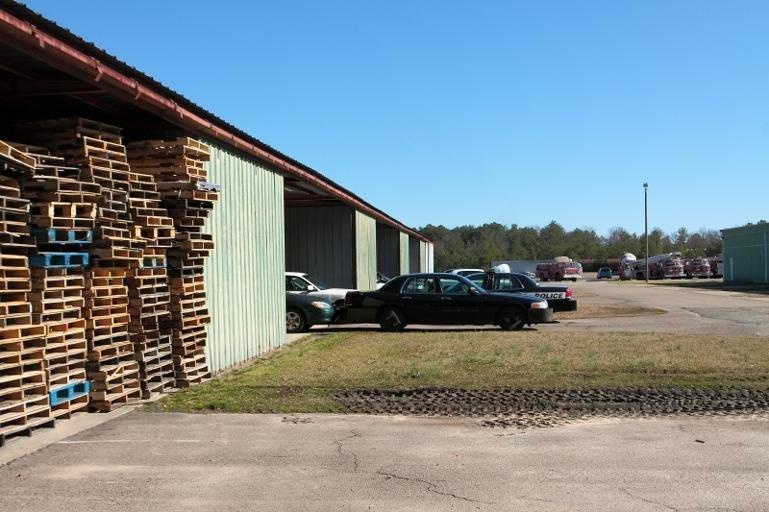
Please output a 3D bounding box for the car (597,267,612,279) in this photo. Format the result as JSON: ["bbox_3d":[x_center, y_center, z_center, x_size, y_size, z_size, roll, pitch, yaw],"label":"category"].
[{"bbox_3d":[27.495,2.052,78.098,1.627,0.939,3.147,0,3,17],"label":"car"}]
